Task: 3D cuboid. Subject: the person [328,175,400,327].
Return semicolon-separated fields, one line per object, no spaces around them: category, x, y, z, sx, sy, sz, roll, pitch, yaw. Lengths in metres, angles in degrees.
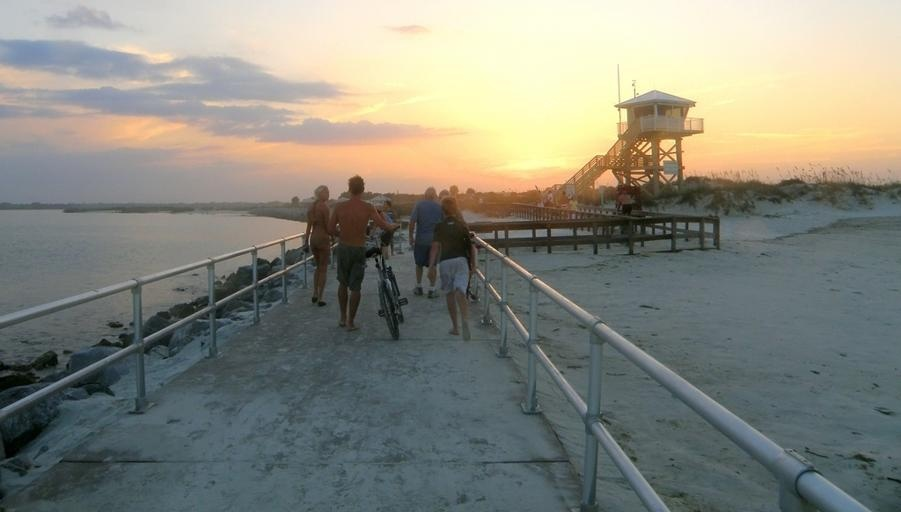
person;-1.878;-0.050;10.970;1.009;3.010;0.623;-1;7;-7

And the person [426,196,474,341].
person;-0.003;0.185;10.797;0.809;2.637;1.307;0;7;-1

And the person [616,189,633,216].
person;8.947;-2.828;28.508;0.600;1.367;1.844;2;7;13
